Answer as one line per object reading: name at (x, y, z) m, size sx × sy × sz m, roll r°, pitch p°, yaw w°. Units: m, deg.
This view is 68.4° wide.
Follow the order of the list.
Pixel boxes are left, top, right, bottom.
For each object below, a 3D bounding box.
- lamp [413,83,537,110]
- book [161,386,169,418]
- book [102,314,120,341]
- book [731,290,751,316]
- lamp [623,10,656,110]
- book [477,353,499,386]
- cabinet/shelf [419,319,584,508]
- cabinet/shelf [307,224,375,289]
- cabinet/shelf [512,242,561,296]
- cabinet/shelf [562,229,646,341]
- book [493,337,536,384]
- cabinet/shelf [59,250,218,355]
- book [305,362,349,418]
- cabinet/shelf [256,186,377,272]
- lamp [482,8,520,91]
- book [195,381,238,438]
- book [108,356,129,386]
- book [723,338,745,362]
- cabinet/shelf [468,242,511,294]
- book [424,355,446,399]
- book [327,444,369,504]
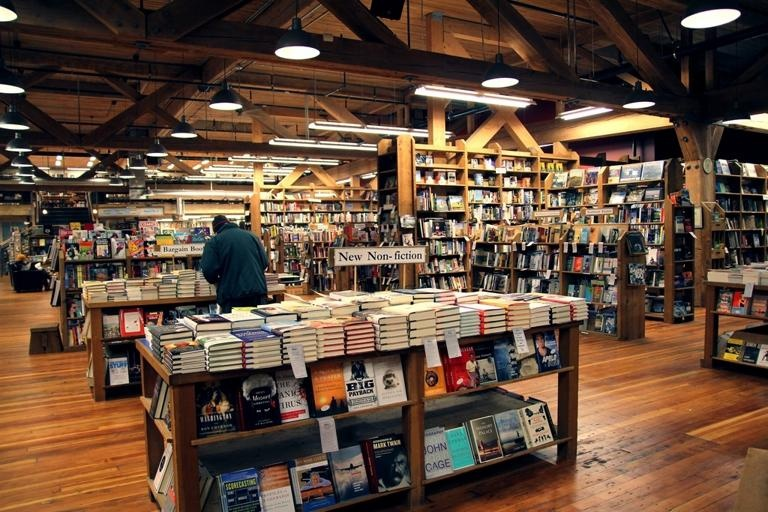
lamp at (1.556, -2.954, 10.290) m, size 2.251 × 0.340 × 0.727 m, roll -11°, pitch 12°, yaw -32°
book at (-2.021, 1.378, 5.296) m, size 0.076 × 0.274 × 0.296 m, roll 6°, pitch -6°, yaw -15°
book at (-3.742, 0.973, 7.827) m, size 0.226 × 0.329 × 0.117 m, roll -10°, pitch 13°, yaw -23°
book at (5.093, 0.665, 8.170) m, size 0.177 × 0.331 × 0.293 m, roll -7°, pitch 12°, yaw -6°
lamp at (4.637, -3.483, 10.384) m, size 0.532 × 1.382 × 1.912 m, roll -1°, pitch 12°, yaw 23°
book at (1.045, 1.153, 5.792) m, size 0.212 × 0.287 × 0.116 m, roll -8°, pitch 12°, yaw -11°
cabinet/shelf at (1.172, 1.635, 5.809) m, size 2.091 × 1.567 × 0.578 m, roll -1°, pitch -1°, yaw -28°
cabinet/shelf at (-0.981, 0.074, 12.309) m, size 0.780 × 1.827 × 2.077 m, roll 1°, pitch -1°, yaw -21°
cabinet/shelf at (2.982, 0.224, 11.092) m, size 0.412 × 0.994 × 1.117 m, roll 0°, pitch -1°, yaw -25°
cabinet/shelf at (4.022, 0.418, 10.469) m, size 0.775 × 2.034 × 1.416 m, roll -14°, pitch 15°, yaw -34°
book at (1.329, 1.074, 5.906) m, size 0.524 × 0.414 × 0.114 m, roll -5°, pitch 2°, yaw -20°
cabinet/shelf at (-3.435, 0.581, 7.915) m, size 2.113 × 1.043 × 0.634 m, roll 0°, pitch -3°, yaw -27°
book at (-0.513, 1.245, 5.276) m, size 0.497 × 0.436 × 0.112 m, roll 1°, pitch -7°, yaw -33°
cabinet/shelf at (-2.076, -0.827, 16.070) m, size 3.337 × 2.124 × 1.431 m, roll -2°, pitch 4°, yaw -27°
lamp at (1.850, -3.539, 9.244) m, size 0.584 × 1.501 × 2.289 m, roll -3°, pitch 11°, yaw 13°
book at (-1.462, 1.342, 4.987) m, size 0.345 × 0.438 × 0.133 m, roll -8°, pitch 12°, yaw -13°
book at (-3.636, 1.586, 7.817) m, size 0.280 × 0.371 × 0.153 m, roll -9°, pitch 13°, yaw -19°
book at (5.057, 1.371, 8.262) m, size 0.323 × 0.292 × 0.079 m, roll -4°, pitch -22°, yaw 44°
cabinet/shelf at (2.193, 0.236, 11.816) m, size 0.394 × 0.986 × 1.121 m, roll 3°, pitch -3°, yaw -25°
book at (0.489, 1.233, 5.610) m, size 0.337 × 0.275 × 0.083 m, roll -1°, pitch -8°, yaw -36°
book at (-0.326, 2.059, 5.347) m, size 0.485 × 0.413 × 0.104 m, roll -8°, pitch -6°, yaw -7°
